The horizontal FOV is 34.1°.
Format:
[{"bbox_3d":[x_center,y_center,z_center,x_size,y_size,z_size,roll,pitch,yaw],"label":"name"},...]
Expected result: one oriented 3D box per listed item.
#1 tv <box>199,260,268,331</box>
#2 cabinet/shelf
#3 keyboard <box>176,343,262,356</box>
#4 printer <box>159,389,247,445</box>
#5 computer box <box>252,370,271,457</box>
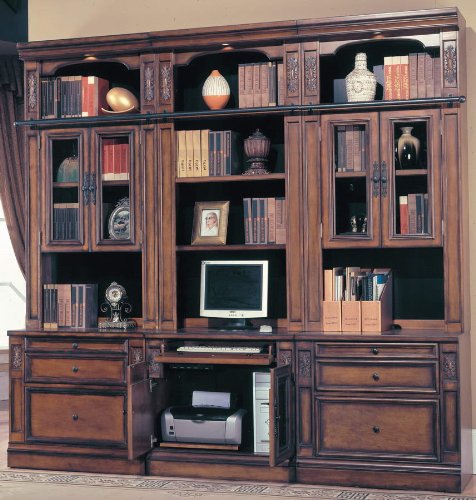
[{"bbox_3d":[-0.023,0.278,4.861,0.359,0.399,0.125,-1,-10,15],"label":"tv"},{"bbox_3d":[0.065,0.043,4.669,2.531,2.746,0.935,0,-2,19],"label":"cabinet/shelf"},{"bbox_3d":[-0.116,0.591,4.547,0.517,0.054,0.114,1,13,16],"label":"keyboard"},{"bbox_3d":[-0.228,1.023,4.714,0.512,0.279,0.247,1,12,14],"label":"printer"},{"bbox_3d":[0.134,0.964,4.563,0.107,0.437,0.193,-2,11,0],"label":"computer box"}]
